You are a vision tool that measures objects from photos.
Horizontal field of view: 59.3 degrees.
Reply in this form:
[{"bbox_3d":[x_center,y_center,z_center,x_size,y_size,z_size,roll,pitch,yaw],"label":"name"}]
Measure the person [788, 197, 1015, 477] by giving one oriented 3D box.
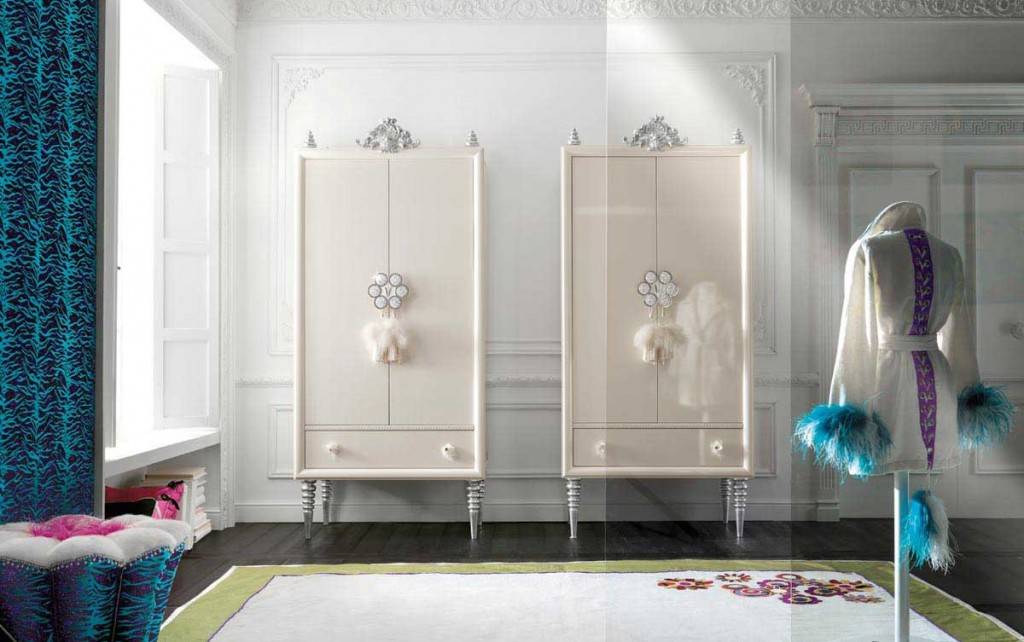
[{"bbox_3d":[1.294,0.048,2.915,0.905,0.949,0.361,-2,8,6],"label":"person"}]
